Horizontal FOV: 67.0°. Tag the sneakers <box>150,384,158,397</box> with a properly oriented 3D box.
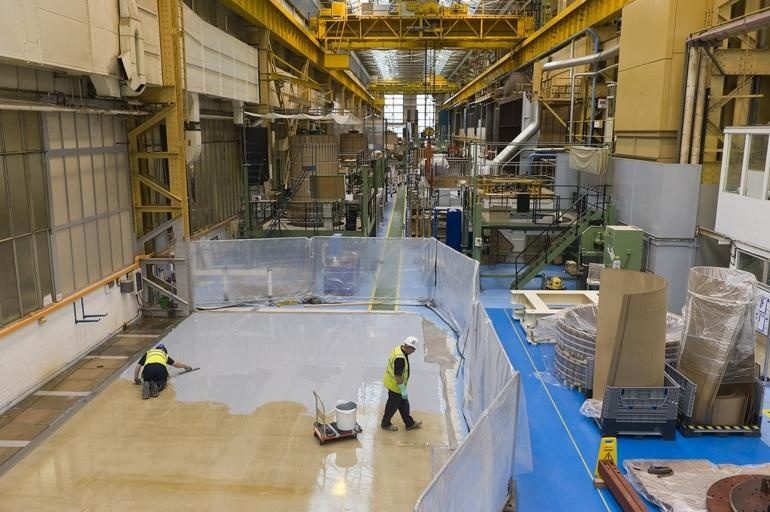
[{"bbox_3d":[-5.598,3.245,14.089,0.133,0.328,0.142,2,-13,-17],"label":"sneakers"}]

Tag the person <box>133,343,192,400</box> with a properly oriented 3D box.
[{"bbox_3d":[-5.642,2.803,14.514,0.984,1.063,1.067,-4,12,-36],"label":"person"}]

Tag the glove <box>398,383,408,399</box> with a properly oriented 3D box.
[{"bbox_3d":[0.386,2.926,12.687,0.120,0.382,0.246,12,13,43],"label":"glove"}]

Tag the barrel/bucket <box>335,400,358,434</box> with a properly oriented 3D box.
[{"bbox_3d":[-0.858,3.467,12.662,0.497,0.493,0.521,1,6,0],"label":"barrel/bucket"}]

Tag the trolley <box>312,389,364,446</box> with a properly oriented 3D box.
[{"bbox_3d":[-1.055,3.633,13.042,1.182,1.236,0.871,-3,11,-18],"label":"trolley"}]

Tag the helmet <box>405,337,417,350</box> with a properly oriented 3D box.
[{"bbox_3d":[0.567,1.896,12.722,0.238,0.332,0.403,5,10,10],"label":"helmet"}]

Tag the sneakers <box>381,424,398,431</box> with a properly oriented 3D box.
[{"bbox_3d":[0.090,3.781,12.932,0.340,0.147,0.140,0,7,6],"label":"sneakers"}]
